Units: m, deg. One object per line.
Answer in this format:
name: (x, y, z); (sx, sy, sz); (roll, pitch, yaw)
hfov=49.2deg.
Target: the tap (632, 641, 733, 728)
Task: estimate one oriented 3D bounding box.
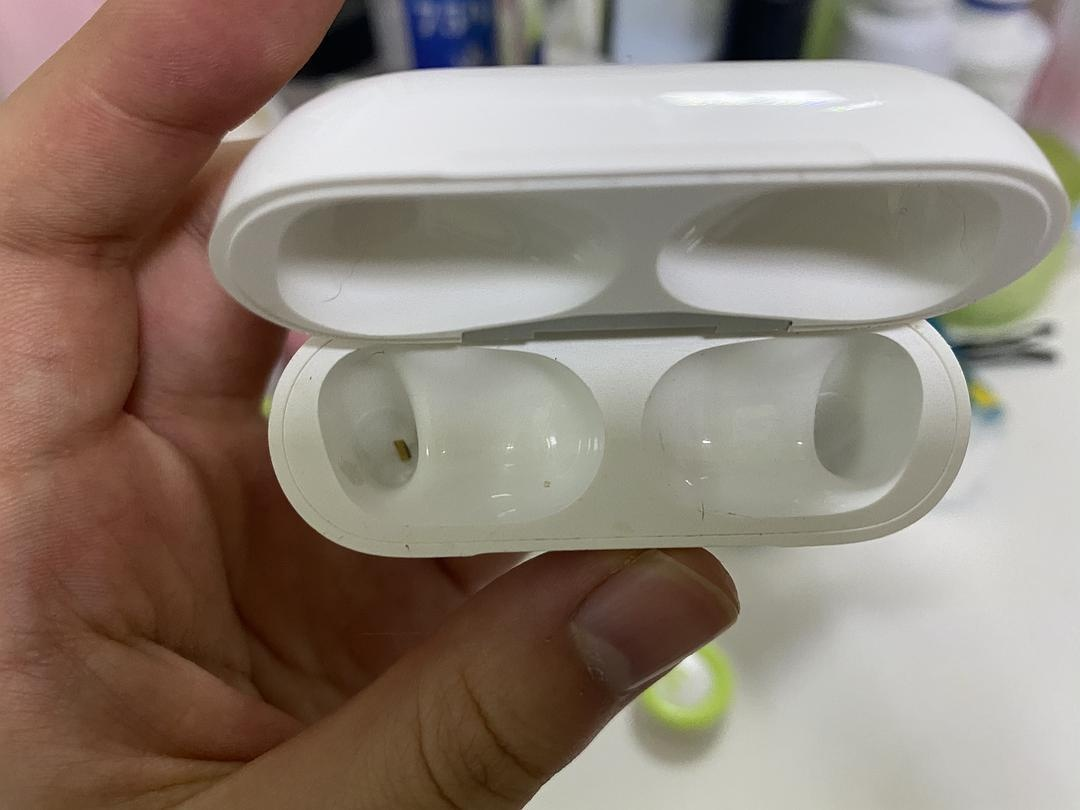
tap: (0.173, 0.344, 1.432); (0.100, 0.035, 0.126); (-6, 73, 14)
